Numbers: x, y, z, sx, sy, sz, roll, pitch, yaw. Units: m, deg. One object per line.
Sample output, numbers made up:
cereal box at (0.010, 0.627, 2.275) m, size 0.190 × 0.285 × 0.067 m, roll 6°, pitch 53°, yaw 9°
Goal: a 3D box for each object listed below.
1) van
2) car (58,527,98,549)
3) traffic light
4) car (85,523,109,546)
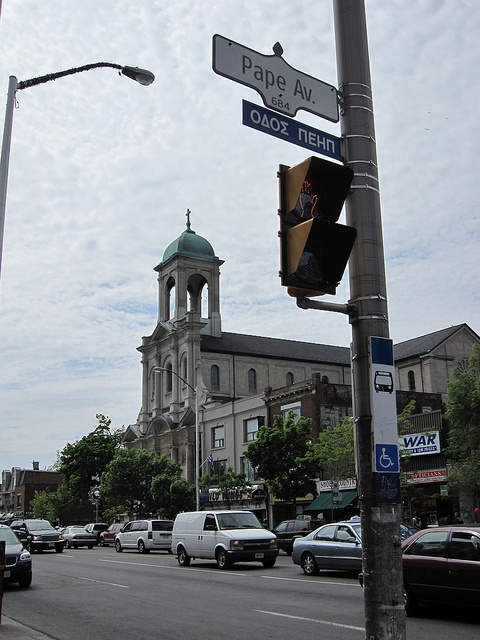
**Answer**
van at (-0.453, 6.780, 23.439) m, size 1.730 × 1.245 × 3.043 m, roll 9°, pitch -21°, yaw -30°
car at (-9.769, 13.347, 46.390) m, size 1.613 × 1.234 × 1.803 m, roll 5°, pitch -17°, yaw -31°
traffic light at (0.521, -0.634, 5.028) m, size 0.498 × 0.859 × 0.333 m, roll 6°, pitch -17°, yaw -33°
car at (-9.625, 14.265, 51.539) m, size 1.083 × 1.071 × 2.278 m, roll 12°, pitch -33°, yaw -24°
